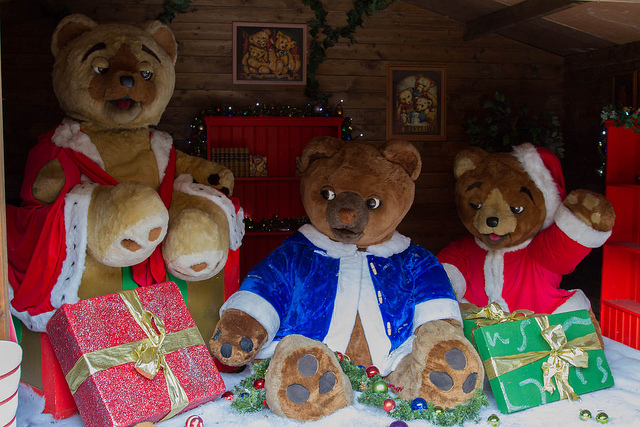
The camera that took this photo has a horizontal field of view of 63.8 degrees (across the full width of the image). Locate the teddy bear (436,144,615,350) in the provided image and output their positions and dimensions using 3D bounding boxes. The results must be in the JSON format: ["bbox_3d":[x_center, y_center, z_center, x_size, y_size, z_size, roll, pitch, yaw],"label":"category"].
[{"bbox_3d":[1.142,0.231,3.119,1.173,1.189,0.879,5,18,32],"label":"teddy bear"}]

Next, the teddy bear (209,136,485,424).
[{"bbox_3d":[0.146,0.335,2.642,1.315,1.243,1.177,3,4,-4],"label":"teddy bear"}]

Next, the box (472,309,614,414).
[{"bbox_3d":[0.994,0.634,2.283,0.563,0.372,0.189,-5,-21,-13],"label":"box"}]

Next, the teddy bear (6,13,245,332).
[{"bbox_3d":[-0.983,-0.272,2.493,1.076,1.166,0.699,-1,1,-6],"label":"teddy bear"}]

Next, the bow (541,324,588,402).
[{"bbox_3d":[1.033,0.636,2.246,0.222,0.297,0.081,-14,-5,-6],"label":"bow"}]

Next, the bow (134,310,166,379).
[{"bbox_3d":[-0.686,0.529,2.080,0.143,0.227,0.058,9,-33,-37],"label":"bow"}]
